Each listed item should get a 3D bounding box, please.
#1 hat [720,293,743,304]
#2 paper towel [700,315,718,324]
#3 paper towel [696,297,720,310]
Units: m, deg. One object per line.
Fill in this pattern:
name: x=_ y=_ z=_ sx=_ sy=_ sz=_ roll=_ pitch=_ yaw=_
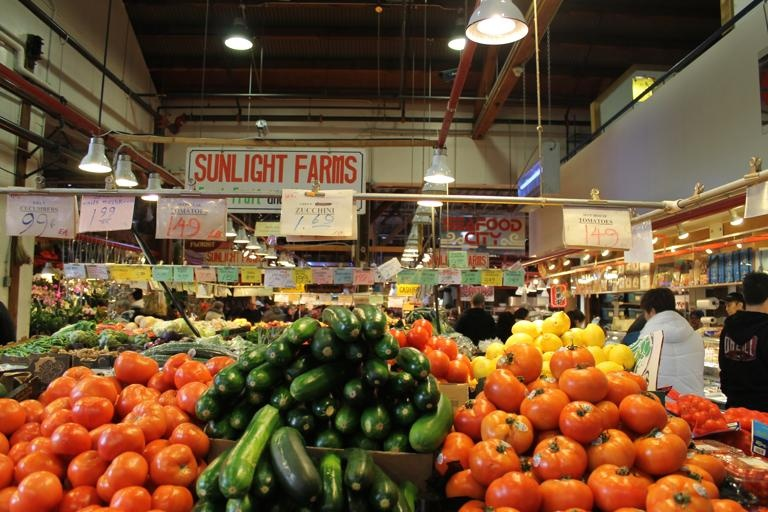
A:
hat: x=4.837 y=0.572 z=8.012 sx=0.272 sy=0.143 sz=0.169 roll=7 pitch=-8 yaw=10
paper towel: x=5.285 y=1.028 z=9.373 sx=0.169 sy=0.088 sz=0.124 roll=5 pitch=-6 yaw=-13
paper towel: x=5.346 y=0.763 z=9.493 sx=0.220 sy=0.225 sz=0.268 roll=-17 pitch=8 yaw=-41
